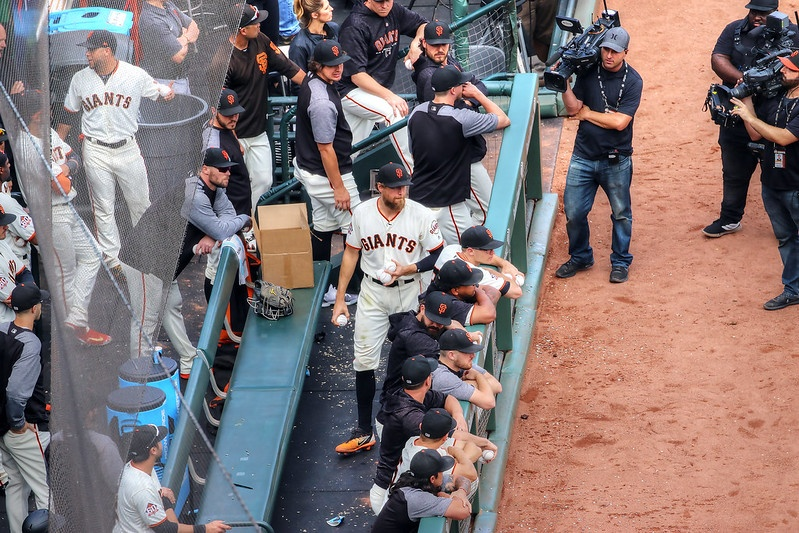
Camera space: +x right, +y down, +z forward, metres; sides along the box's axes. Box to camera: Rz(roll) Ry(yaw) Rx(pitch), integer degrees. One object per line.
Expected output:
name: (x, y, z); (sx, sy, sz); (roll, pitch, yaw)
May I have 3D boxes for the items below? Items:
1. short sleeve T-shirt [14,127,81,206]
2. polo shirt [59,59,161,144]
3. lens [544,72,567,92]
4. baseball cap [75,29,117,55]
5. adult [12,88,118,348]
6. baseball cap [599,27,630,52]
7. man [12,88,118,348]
short sleeve T-shirt: (-1.405, -0.407, 3.587); (0.123, 0.156, 0.383); (-29, 2, -3)
polo shirt: (-1.264, -0.752, 4.046); (0.549, 0.338, 0.178); (-1, 29, 4)
lens: (1.436, -1.702, 8.237); (0.207, 0.219, 0.267); (2, 20, 8)
baseball cap: (-1.349, -1.017, 4.022); (0.140, 0.061, 0.087); (2, 5, -27)
adult: (-1.359, -0.170, 3.585); (0.250, 1.025, 0.611); (-11, 23, -22)
baseball cap: (1.987, -2.071, 8.219); (0.208, 0.132, 0.277); (20, 39, 20)
man: (-1.359, -0.170, 3.585); (0.250, 1.025, 0.611); (-11, 23, -22)
